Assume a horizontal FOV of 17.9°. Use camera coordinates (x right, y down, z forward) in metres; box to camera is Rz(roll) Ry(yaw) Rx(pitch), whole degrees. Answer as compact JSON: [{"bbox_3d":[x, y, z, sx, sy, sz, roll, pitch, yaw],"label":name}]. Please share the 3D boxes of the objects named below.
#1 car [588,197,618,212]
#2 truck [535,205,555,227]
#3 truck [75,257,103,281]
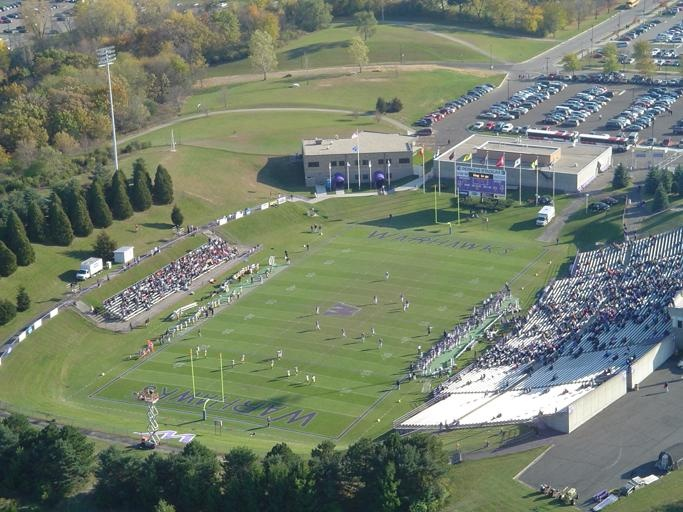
[{"bbox_3d":[45.817,-8.631,380.913,4.125,1.154,2.496,0,24,24],"label":"car"},{"bbox_3d":[35.825,-6.845,379.699,2.405,2.143,4.276,19,43,29],"label":"truck"},{"bbox_3d":[-42.652,2.604,365.199,2.561,2.383,4.753,9,17,20],"label":"truck"}]
